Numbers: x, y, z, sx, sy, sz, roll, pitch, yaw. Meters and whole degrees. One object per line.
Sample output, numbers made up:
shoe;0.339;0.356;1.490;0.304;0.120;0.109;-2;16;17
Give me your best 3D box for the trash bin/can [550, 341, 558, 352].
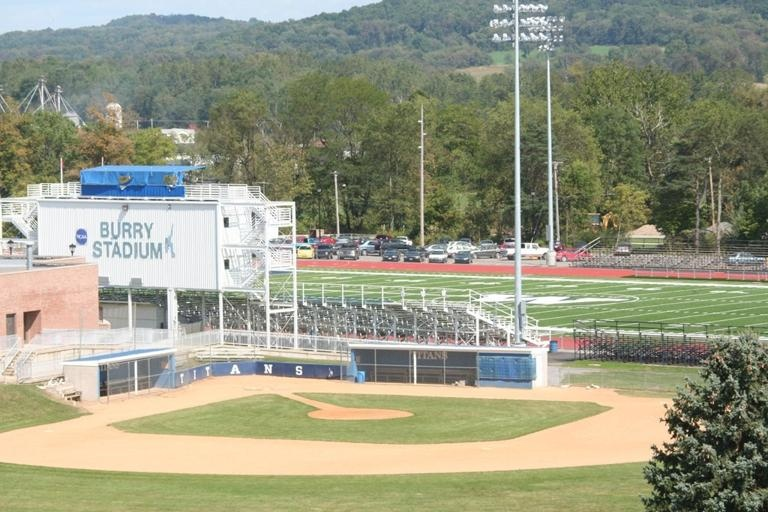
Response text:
trash bin/can;25.728;13.847;283.189;0.966;1.630;1.688;-1;0;39
